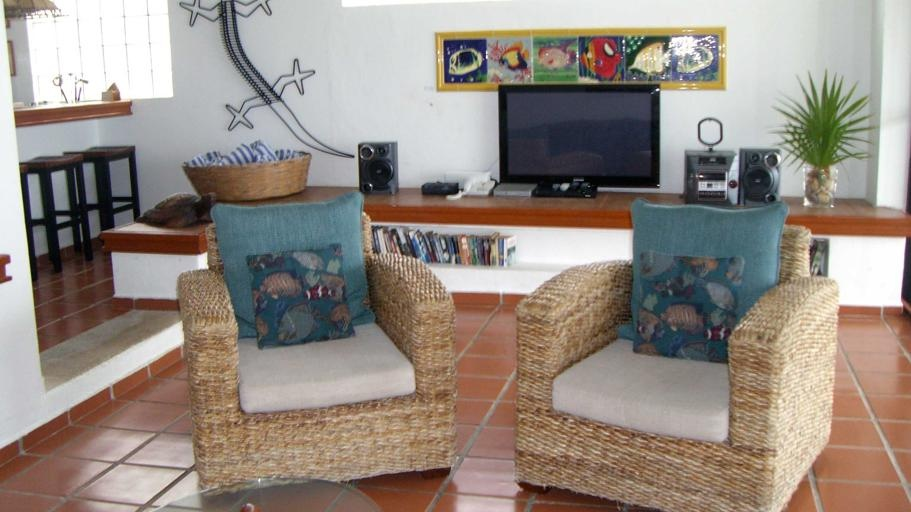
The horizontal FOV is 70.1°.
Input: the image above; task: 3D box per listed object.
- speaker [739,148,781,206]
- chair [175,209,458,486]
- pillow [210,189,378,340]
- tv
[{"bbox_3d":[2.570,-0.669,5.502,0.325,0.461,0.200,2,17,19],"label":"speaker"},{"bbox_3d":[-0.724,0.421,4.142,1.773,1.324,1.289,-3,10,-12],"label":"chair"},{"bbox_3d":[-0.971,0.093,3.918,1.086,0.807,0.326,-8,-10,-8],"label":"pillow"},{"bbox_3d":[1.153,-1.056,5.852,1.303,0.646,0.122,1,8,11],"label":"tv"}]
